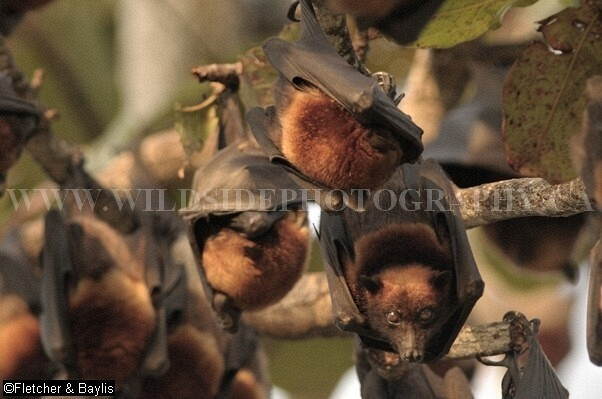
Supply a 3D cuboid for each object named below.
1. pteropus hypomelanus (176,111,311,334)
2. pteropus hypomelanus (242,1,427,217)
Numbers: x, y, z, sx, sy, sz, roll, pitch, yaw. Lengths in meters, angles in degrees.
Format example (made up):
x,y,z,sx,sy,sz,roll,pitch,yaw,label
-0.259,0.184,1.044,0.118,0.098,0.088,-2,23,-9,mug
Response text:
x,y,z,sx,sy,sz,roll,pitch,yaw,label
-0.161,0.068,3.675,0.327,0.500,0.229,-10,5,18,pteropus hypomelanus
0.106,-0.236,3.621,0.338,0.445,0.187,-41,-3,22,pteropus hypomelanus
